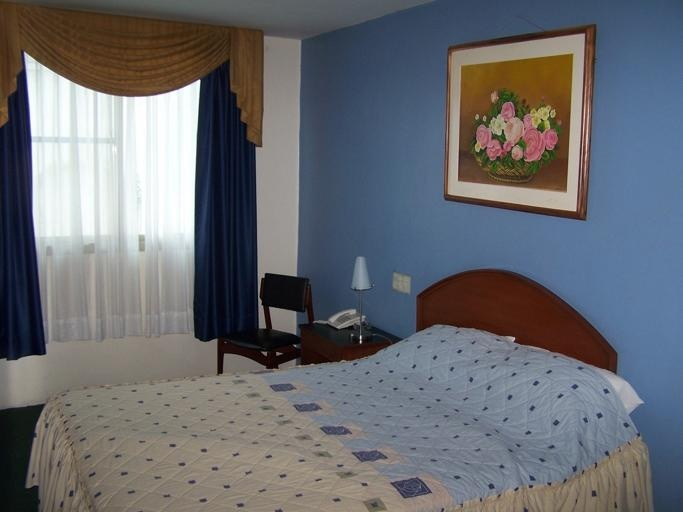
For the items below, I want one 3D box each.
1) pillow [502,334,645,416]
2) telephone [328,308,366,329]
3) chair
[{"bbox_3d":[1.352,0.697,3.241,0.301,0.124,0.449,-14,24,-39],"label":"pillow"},{"bbox_3d":[0.042,0.549,4.905,0.219,0.098,0.173,-4,9,-29],"label":"telephone"},{"bbox_3d":[-0.687,0.737,5.269,0.751,1.140,0.685,8,7,42],"label":"chair"}]
